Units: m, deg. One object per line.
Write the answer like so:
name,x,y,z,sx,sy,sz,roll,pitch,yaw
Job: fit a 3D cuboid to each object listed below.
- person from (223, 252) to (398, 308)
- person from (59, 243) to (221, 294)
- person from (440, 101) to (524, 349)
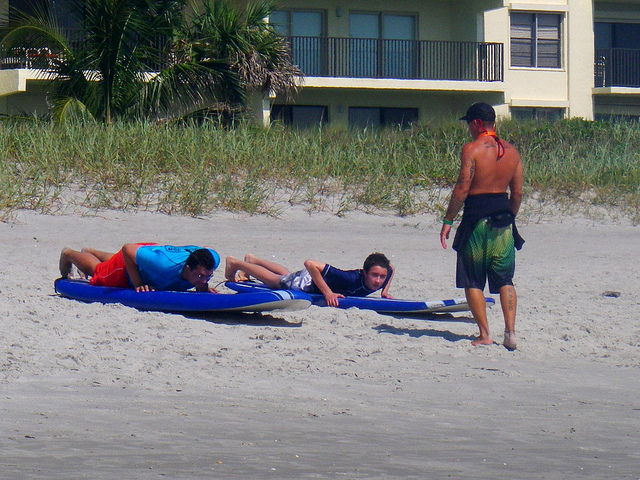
person,-0.150,0.473,17.583,2.297,0.678,0.917,6,10,17
person,-2.376,0.273,17.073,1.818,0.575,0.856,1,1,22
person,2.075,-0.181,16.344,0.986,3.117,0.536,1,6,8
